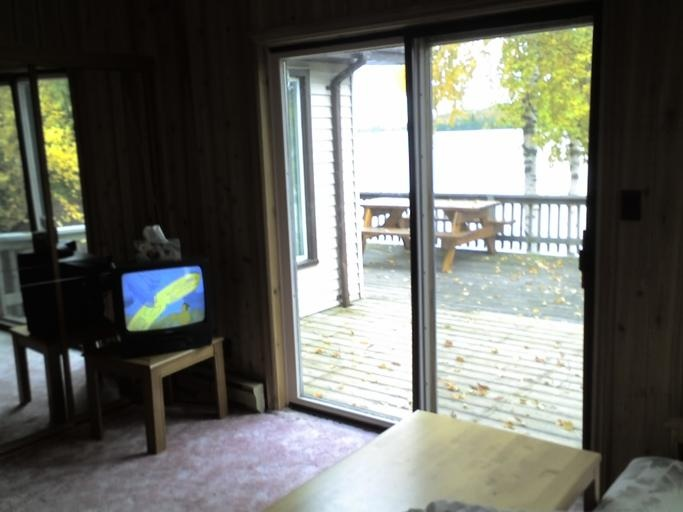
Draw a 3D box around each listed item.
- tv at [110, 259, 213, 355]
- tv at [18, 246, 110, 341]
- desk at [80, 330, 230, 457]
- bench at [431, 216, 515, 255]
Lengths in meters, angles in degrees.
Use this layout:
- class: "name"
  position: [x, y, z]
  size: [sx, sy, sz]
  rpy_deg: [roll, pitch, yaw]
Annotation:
- class: "tv"
  position: [-1.203, 0.261, 3.971]
  size: [0.628, 0.588, 0.342]
  rpy_deg: [-8, 23, -27]
- class: "tv"
  position: [-1.897, 0.232, 4.276]
  size: [0.542, 0.716, 0.573]
  rpy_deg: [3, 9, 12]
- class: "desk"
  position: [-1.288, 0.823, 4.155]
  size: [0.750, 0.704, 0.760]
  rpy_deg: [4, 8, 34]
- class: "bench"
  position: [0.787, -0.128, 3.540]
  size: [0.246, 0.123, 0.248]
  rpy_deg: [8, 17, 37]
